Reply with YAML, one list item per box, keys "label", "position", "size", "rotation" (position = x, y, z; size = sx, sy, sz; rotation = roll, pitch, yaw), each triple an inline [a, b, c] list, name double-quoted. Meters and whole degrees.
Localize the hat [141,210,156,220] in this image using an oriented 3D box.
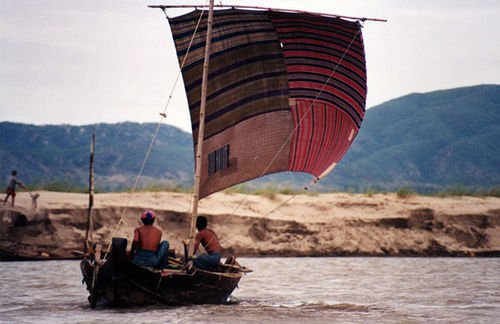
- label: "hat"
  position: [-8.010, 4.190, 77.913]
  size: [0.889, 0.573, 0.617]
  rotation: [4, 25, 19]
